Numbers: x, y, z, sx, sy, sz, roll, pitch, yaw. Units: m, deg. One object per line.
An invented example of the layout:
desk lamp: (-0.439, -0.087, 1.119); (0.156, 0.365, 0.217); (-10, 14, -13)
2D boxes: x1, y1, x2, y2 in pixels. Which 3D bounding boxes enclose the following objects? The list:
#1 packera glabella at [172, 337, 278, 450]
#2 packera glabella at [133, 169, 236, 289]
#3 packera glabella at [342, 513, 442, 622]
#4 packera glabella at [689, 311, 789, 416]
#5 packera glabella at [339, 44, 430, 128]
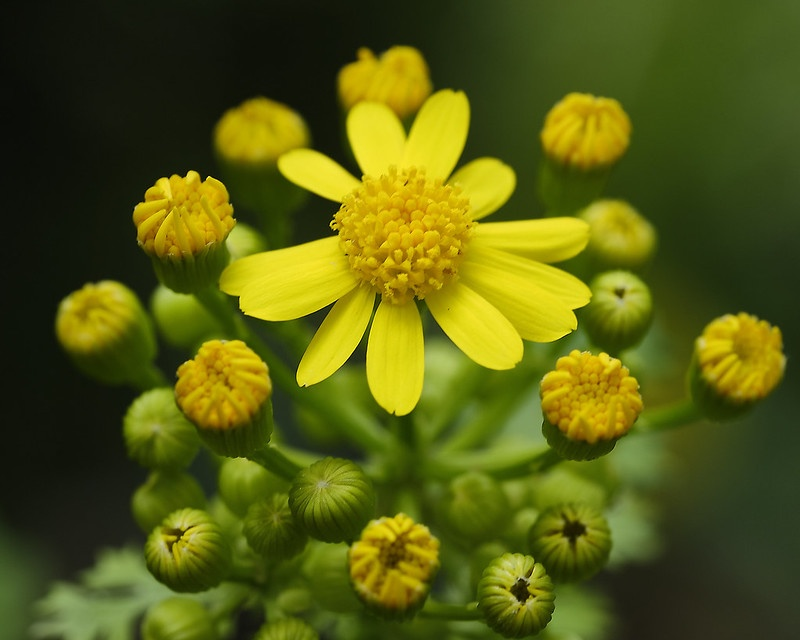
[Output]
packera glabella: (-0.235, 0.126, 1.179); (0.103, 0.149, 0.134); (2, 19, 18)
packera glabella: (-0.315, -0.120, 1.242); (0.125, 0.163, 0.123); (20, 43, 16)
packera glabella: (-0.011, 0.324, 1.103); (0.116, 0.087, 0.102); (19, 43, 12)
packera glabella: (0.510, 0.065, 1.269); (0.129, 0.074, 0.187); (17, 49, 22)
packera glabella: (-0.025, -0.409, 1.484); (0.130, 0.044, 0.148); (-25, 84, 13)
